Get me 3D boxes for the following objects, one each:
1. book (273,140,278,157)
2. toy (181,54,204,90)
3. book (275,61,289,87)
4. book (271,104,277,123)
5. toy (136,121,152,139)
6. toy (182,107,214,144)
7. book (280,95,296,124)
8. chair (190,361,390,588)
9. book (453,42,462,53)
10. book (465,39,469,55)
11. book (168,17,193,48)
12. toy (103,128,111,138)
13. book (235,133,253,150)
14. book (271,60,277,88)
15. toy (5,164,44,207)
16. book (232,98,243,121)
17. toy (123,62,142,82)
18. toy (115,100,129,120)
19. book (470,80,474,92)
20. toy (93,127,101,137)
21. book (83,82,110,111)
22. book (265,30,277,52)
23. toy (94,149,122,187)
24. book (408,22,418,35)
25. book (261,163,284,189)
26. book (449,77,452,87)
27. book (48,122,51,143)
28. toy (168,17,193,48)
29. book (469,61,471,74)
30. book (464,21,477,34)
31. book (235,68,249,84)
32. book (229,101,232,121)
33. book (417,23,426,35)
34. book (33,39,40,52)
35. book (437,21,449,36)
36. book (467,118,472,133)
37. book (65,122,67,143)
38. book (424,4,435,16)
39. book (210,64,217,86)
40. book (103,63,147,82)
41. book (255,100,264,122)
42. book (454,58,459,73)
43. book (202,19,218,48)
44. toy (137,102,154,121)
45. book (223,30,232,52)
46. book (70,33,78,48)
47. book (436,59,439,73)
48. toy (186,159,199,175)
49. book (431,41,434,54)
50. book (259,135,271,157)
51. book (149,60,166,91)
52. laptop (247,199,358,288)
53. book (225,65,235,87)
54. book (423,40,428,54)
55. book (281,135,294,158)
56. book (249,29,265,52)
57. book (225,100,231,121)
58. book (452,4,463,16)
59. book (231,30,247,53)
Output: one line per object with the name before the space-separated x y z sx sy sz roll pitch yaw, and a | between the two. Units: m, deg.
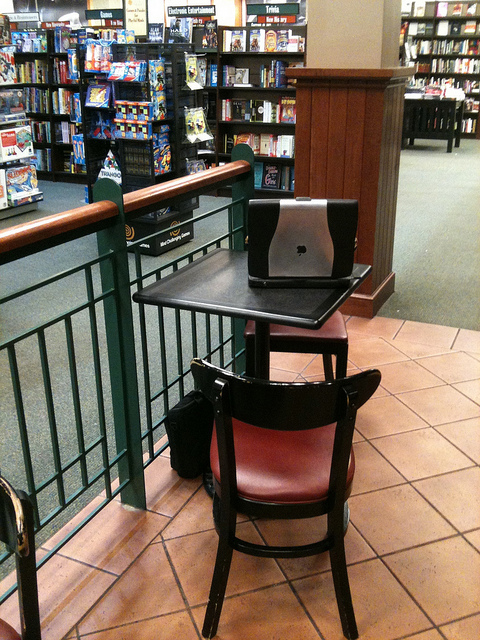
book | 0.455 -2.209 6.151 0.072 0.160 0.156 3 24 12
toy | -0.428 -2.325 4.488 0.168 0.303 0.414 3 24 9
book | 0.543 -3.021 5.889 0.168 0.287 0.189 -12 25 -28
book | 0.432 -2.618 6.072 0.073 0.204 0.038 2 20 5
toy | -0.855 -1.686 4.258 0.143 0.146 0.043 7 21 16
toy | -0.403 -1.855 4.592 0.184 0.315 0.385 14 27 33
book | 0.601 -2.634 6.018 0.184 0.315 0.195 6 22 15
chair | 0.085 0.319 1.159 0.346 0.660 0.378 -6 24 -16
book | 5.199 -6.526 11.478 0.189 0.218 0.068 13 24 29
book | 5.368 -6.465 11.358 0.060 0.305 0.057 0 20 0
book | -0.827 -3.985 6.592 0.219 0.320 0.511 -15 28 -33
toy | -1.327 -1.874 4.798 0.045 0.106 0.024 -3 38 25
book | 0.059 -2.353 6.262 0.214 0.131 0.452 0 25 0
book | 0.403 -3.055 5.961 0.045 0.300 0.139 -5 21 -13
toy | -2.746 -1.689 6.052 0.155 0.457 0.476 14 27 34
book | -0.030 -2.784 6.348 0.173 0.249 0.082 13 24 31
toy | -0.925 -2.125 4.098 0.195 0.145 0.079 14 25 29
toy | -1.067 -1.886 4.313 0.134 0.149 0.046 15 25 33
book | 5.486 -5.533 11.348 0.065 0.244 0.283 8 24 22
toy | -1.440 -1.904 4.849 0.087 0.077 0.020 13 24 28
book | -1.361 -2.132 4.577 0.237 0.319 0.071 3 -5 24
book | 0.387 -3.498 5.993 0.152 0.235 0.096 2 21 6
toy | -1.249 -1.501 4.687 0.138 0.313 0.472 -17 29 -37
book | 4.227 -7.135 11.725 0.222 0.270 0.125 7 22 17
book | 0.434 -1.891 6.294 0.230 0.398 0.040 11 21 21
book | 5.098 -5.770 11.599 0.062 0.181 0.256 7 25 20
book | -3.024 -2.984 7.625 0.041 0.284 0.112 -8 22 -19
toy | -0.827 -3.985 6.592 0.219 0.320 0.511 -15 28 -33
book | 5.433 -5.996 11.342 0.026 0.227 0.045 -9 22 -22
book | 5.407 -6.889 11.263 0.223 0.356 0.024 12 32 20
book | 0.035 -3.200 6.276 0.141 0.186 0.053 3 17 12
book | -0.121 -2.784 6.378 0.026 0.228 0.068 10 23 27
book | 4.412 -7.099 11.669 0.208 0.343 0.031 13 28 27
book | -3.146 -4.246 7.408 0.135 0.168 0.052 7 21 17
book | 4.865 -6.996 11.493 0.274 0.318 0.109 10 23 23
book | 5.487 -4.646 11.471 0.104 0.304 0.056 6 21 16
book | -2.705 -2.932 7.480 0.035 0.270 0.055 -12 23 -30
book | 4.544 -7.453 11.512 0.219 0.226 0.064 10 22 23
book | -0.343 -3.228 6.304 0.112 0.268 0.183 1 20 4
book | -0.971 -2.144 4.142 0.385 0.141 0.140 18 29 34
book | 0.248 -2.690 6.183 0.137 0.251 0.073 10 23 25
book | 5.177 -6.100 11.511 0.059 0.286 0.084 2 20 6
book | -0.399 -3.756 6.301 0.193 0.320 0.229 0 22 1
toy | -0.817 -1.834 4.285 0.163 0.196 0.136 10 23 23
book | -0.160 -3.611 6.195 0.117 0.229 0.063 -5 21 -12
book | -2.394 -4.031 6.890 0.095 0.215 0.563 -7 25 -18
book | 4.820 -6.199 11.710 0.058 0.277 0.085 5 21 13
toy | -0.474 -1.540 4.817 0.072 0.099 0.207 5 25 14
book | 4.683 -6.658 11.685 0.049 0.247 0.054 2 20 6
book | 0.329 -2.257 6.203 0.184 0.326 0.156 7 24 17
book | -0.725 -2.132 4.167 0.021 0.242 0.231 10 29 20
laptop | 0.154 -0.202 1.231 0.228 0.248 0.219 0 9 2
book | -0.134 -3.199 6.279 0.119 0.279 0.249 2 7 13
book | 4.542 -6.702 11.742 0.098 0.218 0.217 4 36 12
book | 0.585 -2.188 6.046 0.194 0.346 0.220 4 20 11
book | 0.211 -3.537 6.056 0.232 0.246 0.090 19 28 38
book | -0.158 -2.788 6.355 0.096 0.224 0.205 3 17 9
book | 5.109 -7.309 11.273 0.199 0.330 0.030 18 31 30
book | -0.005 -3.581 6.144 0.241 0.362 0.044 6 21 18
